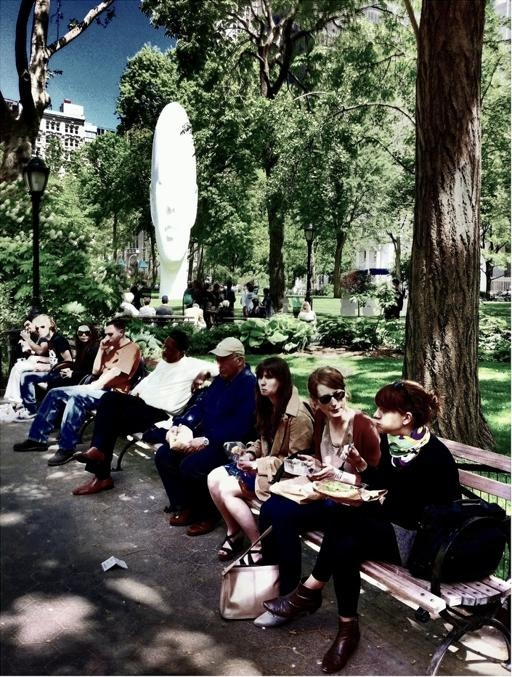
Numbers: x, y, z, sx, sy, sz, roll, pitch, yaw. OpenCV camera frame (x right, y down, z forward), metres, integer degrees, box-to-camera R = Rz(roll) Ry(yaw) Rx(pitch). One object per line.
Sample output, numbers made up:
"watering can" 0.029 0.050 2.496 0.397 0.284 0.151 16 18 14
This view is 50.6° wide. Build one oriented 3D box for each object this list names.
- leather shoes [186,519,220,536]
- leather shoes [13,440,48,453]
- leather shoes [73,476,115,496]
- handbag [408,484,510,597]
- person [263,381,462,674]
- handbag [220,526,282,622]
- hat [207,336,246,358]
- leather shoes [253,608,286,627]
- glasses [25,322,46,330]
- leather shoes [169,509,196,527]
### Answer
"leather shoes" -0.412 1.471 4.171 0.079 0.099 0.241 -2 -13 43
"leather shoes" -2.596 1.255 6.211 0.377 0.183 0.155 10 -5 -15
"leather shoes" -1.505 1.378 5.034 0.365 0.164 0.124 3 17 -33
"handbag" 0.916 0.875 2.517 0.431 0.408 0.309 -1 26 -38
"person" 0.564 0.851 2.624 0.874 1.261 0.500 -2 4 -8
"handbag" -0.033 1.239 2.912 0.326 0.491 0.174 -2 10 -18
"hat" -0.218 0.079 4.161 0.203 0.120 0.148 12 -7 -32
"leather shoes" 0.068 1.443 2.803 0.146 0.063 0.078 8 -5 -8
"glasses" -3.196 -0.174 7.825 0.081 0.067 0.116 24 0 40
"leather shoes" -0.594 1.451 4.357 0.085 0.107 0.242 5 -7 38
